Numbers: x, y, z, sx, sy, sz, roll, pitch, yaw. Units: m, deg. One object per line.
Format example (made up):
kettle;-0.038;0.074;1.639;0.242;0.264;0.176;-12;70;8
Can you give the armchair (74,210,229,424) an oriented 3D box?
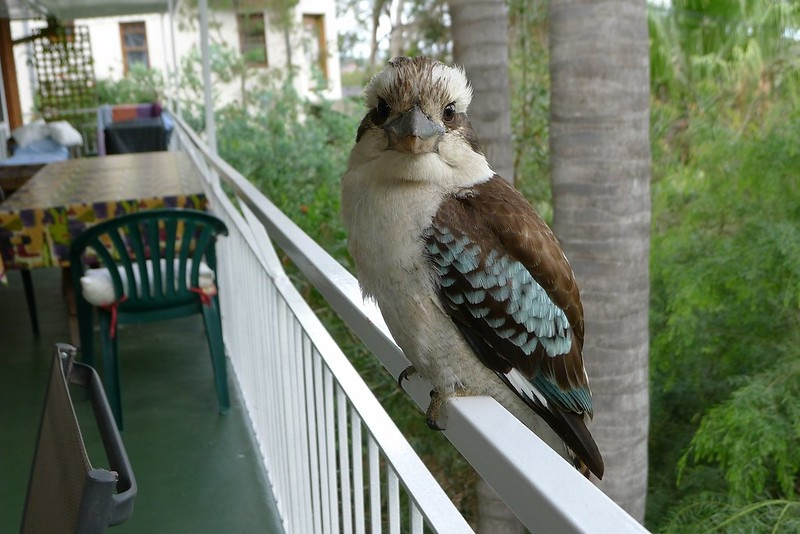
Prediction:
armchair;-1.526;0.295;4.710;0.784;1.178;0.842;-7;44;-21
